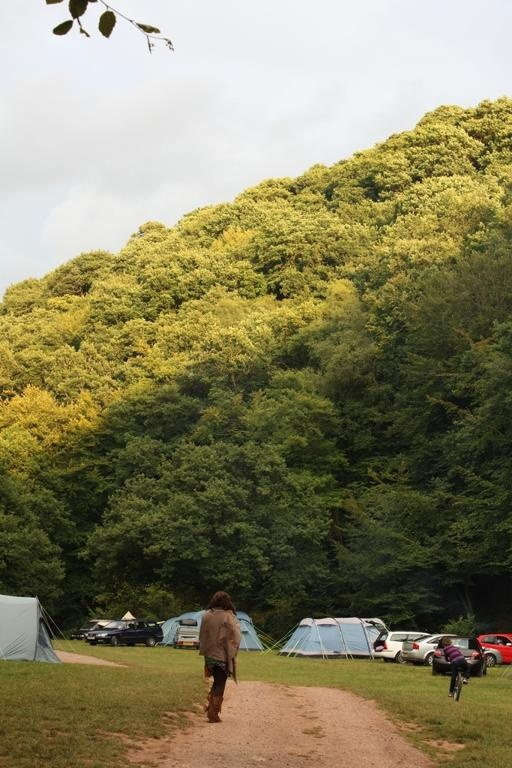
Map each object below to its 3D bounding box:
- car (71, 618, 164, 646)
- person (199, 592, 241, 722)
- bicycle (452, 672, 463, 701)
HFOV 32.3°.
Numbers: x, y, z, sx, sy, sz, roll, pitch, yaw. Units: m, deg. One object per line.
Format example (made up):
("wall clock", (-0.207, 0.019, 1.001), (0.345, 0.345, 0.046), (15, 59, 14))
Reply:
("car", (-5.354, 10.504, 37.018), (2.773, 0.850, 1.476), (20, -29, -38))
("person", (-0.533, 4.147, 13.120), (0.586, 1.962, 1.173), (-2, -11, -4))
("bicycle", (3.965, 6.075, 17.475), (0.210, 0.560, 0.464), (-4, -11, 9))
